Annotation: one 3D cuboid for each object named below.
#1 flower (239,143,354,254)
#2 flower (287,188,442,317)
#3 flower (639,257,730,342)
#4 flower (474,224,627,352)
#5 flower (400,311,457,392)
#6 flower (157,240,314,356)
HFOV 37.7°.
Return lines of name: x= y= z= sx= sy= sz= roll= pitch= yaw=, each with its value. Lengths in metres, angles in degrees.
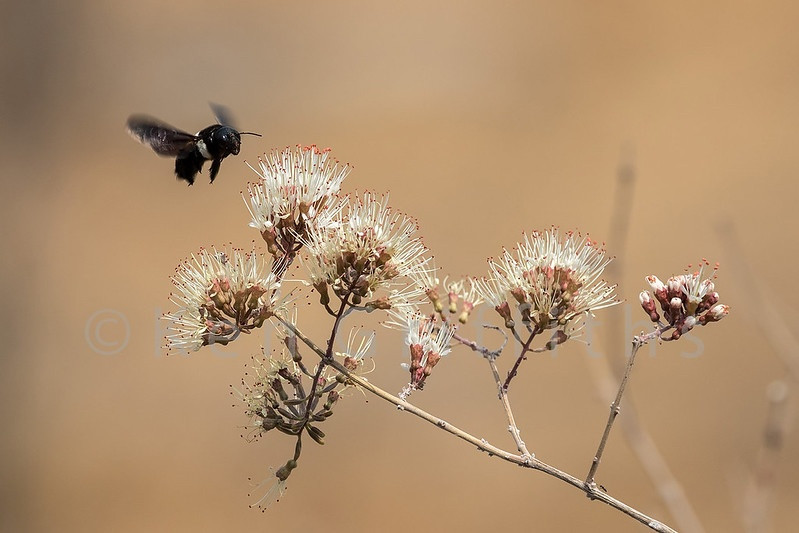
flower: x=-0.598 y=-0.395 z=6.931 sx=0.445 sy=0.459 sz=0.613 roll=11 pitch=-92 yaw=-11
flower: x=-0.198 y=-0.067 z=6.947 sx=0.716 sy=0.644 sz=0.639 roll=29 pitch=-68 yaw=-3
flower: x=1.655 y=0.167 z=6.930 sx=0.680 sy=0.389 sz=0.409 roll=-9 pitch=-75 yaw=41
flower: x=0.935 y=0.118 z=6.957 sx=0.583 sy=0.604 sz=0.684 roll=2 pitch=-86 yaw=-7
flower: x=0.135 y=0.517 z=6.964 sx=0.265 sy=0.275 sz=0.464 roll=1 pitch=-100 yaw=40
flower: x=-0.943 y=0.099 z=6.962 sx=0.572 sy=0.762 sz=0.461 roll=6 pitch=-90 yaw=-10
